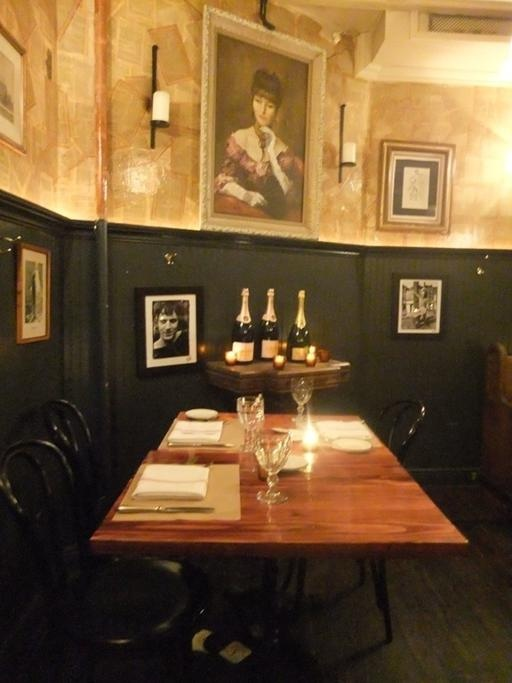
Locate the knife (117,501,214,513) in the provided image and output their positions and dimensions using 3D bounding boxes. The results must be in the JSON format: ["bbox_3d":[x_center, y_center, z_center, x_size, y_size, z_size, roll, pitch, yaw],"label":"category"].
[{"bbox_3d":[-0.238,0.437,1.372,0.250,0.012,0.046,2,5,-1],"label":"knife"}]

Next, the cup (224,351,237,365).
[{"bbox_3d":[-0.147,0.096,2.903,0.057,0.073,0.059,1,2,0],"label":"cup"}]

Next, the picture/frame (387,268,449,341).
[{"bbox_3d":[1.100,-0.270,3.658,0.424,0.634,0.041,0,2,-2],"label":"picture/frame"}]

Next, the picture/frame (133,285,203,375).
[{"bbox_3d":[-0.499,-0.071,2.849,0.420,0.532,0.035,-5,8,-40],"label":"picture/frame"}]

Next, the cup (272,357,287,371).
[{"bbox_3d":[0.118,0.112,2.805,0.052,0.069,0.087,3,5,16],"label":"cup"}]

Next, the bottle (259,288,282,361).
[{"bbox_3d":[0.074,-0.105,3.141,0.129,0.415,0.340,2,4,2],"label":"bottle"}]

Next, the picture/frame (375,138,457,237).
[{"bbox_3d":[1.063,-1.076,3.579,0.534,0.691,0.070,3,5,-11],"label":"picture/frame"}]

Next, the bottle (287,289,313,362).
[{"bbox_3d":[0.260,-0.095,3.226,0.140,0.421,0.375,2,4,5],"label":"bottle"}]

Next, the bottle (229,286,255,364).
[{"bbox_3d":[-0.077,-0.095,3.013,0.137,0.412,0.321,1,4,-1],"label":"bottle"}]

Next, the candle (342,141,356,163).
[{"bbox_3d":[0.569,-1.172,3.298,0.106,0.144,0.117,0,7,8],"label":"candle"}]
